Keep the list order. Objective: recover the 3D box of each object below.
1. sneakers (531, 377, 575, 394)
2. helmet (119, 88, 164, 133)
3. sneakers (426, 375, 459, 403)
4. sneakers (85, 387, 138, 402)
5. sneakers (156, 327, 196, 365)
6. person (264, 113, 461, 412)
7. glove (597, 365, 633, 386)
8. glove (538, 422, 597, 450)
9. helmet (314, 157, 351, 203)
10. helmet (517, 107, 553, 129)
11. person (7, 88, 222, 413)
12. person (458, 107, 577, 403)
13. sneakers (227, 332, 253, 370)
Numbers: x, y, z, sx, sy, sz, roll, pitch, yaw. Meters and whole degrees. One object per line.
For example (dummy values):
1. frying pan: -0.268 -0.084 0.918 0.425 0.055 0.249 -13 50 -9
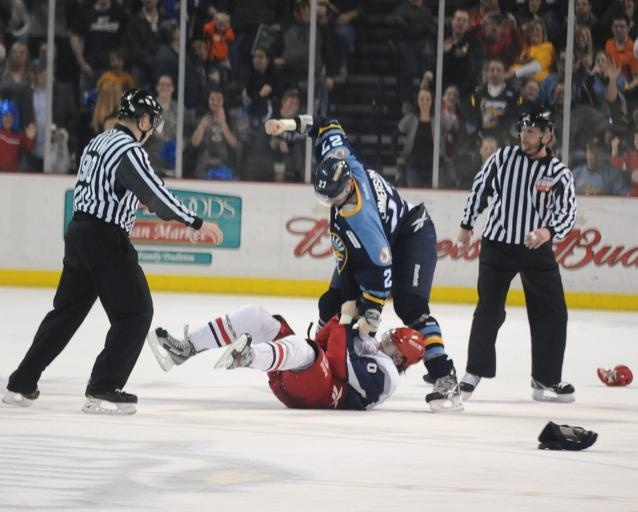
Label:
1. sneakers: 1.620 0.901 6.401 0.292 0.126 0.112 -3 1 20
2. helmet: -1.120 -0.928 5.877 0.278 0.282 0.217 -11 19 -24
3. sneakers: 0.800 0.855 5.980 0.212 0.191 0.150 3 8 7
4. sneakers: -1.258 0.851 5.645 0.186 0.076 0.133 3 0 -9
5. sneakers: -0.877 0.539 5.623 0.250 0.233 0.150 -5 10 -36
6. person: 0.402 0.069 6.076 1.242 1.896 0.882 16 34 33
7. glove: 2.191 0.886 6.849 0.192 0.103 0.152 5 -9 23
8. glove: 1.393 1.021 5.223 0.231 0.107 0.181 2 -3 -4
9. helmet: 0.081 -0.448 5.585 0.223 0.292 0.218 1 8 1
10. helmet: 1.445 -0.942 6.202 0.191 0.156 0.138 -27 30 -35
11. person: -1.305 -0.032 5.675 1.107 1.960 0.464 0 8 -9
12. person: 1.369 0.002 6.332 0.845 1.987 0.566 3 8 15
13. sneakers: -0.446 0.550 5.267 0.087 0.234 0.098 9 24 -22
